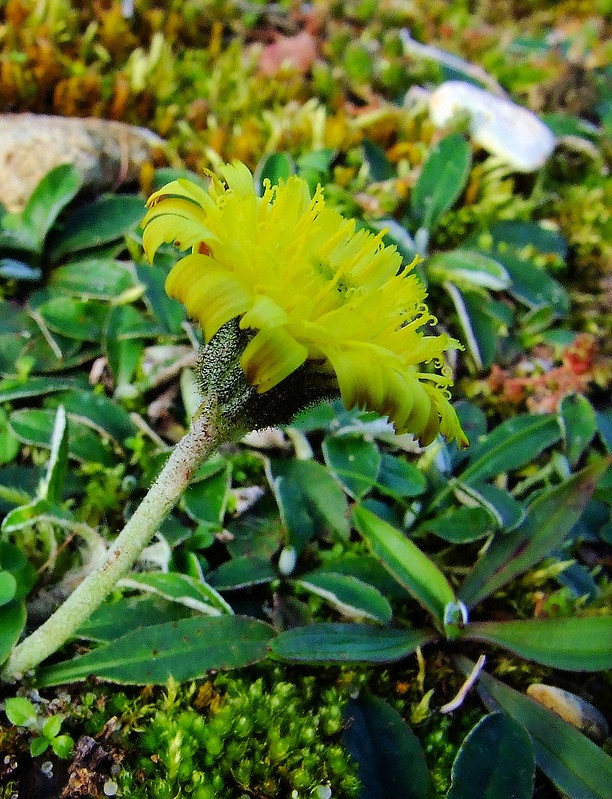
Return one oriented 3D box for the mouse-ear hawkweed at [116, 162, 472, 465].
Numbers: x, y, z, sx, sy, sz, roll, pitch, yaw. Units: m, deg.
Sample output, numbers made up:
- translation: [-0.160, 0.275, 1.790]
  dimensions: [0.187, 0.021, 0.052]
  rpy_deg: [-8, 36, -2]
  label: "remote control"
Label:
- translation: [-0.075, -0.047, 1.551]
  dimensions: [0.293, 0.570, 0.511]
  rpy_deg: [-42, 39, 21]
  label: "mouse-ear hawkweed"
